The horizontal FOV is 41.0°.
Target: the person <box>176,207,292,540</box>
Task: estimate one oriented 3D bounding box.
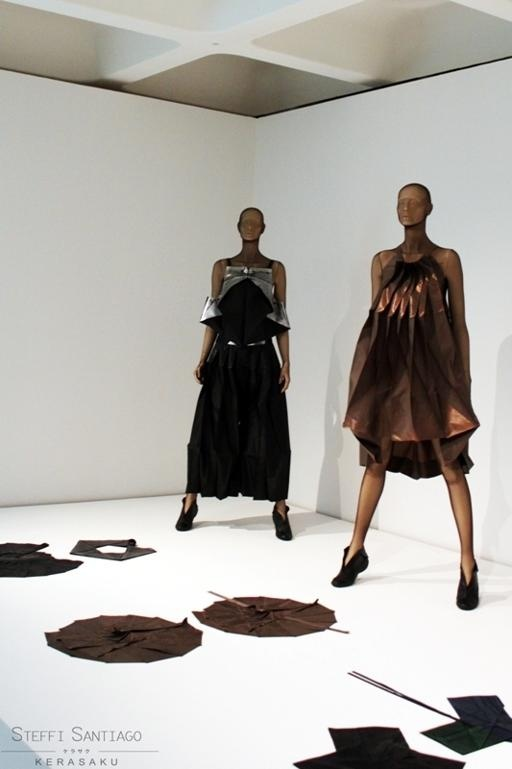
[{"bbox_3d":[-0.070,-0.054,3.528,0.581,1.627,0.394,3,-1,-6],"label":"person"}]

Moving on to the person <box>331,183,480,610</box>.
[{"bbox_3d":[0.625,0.031,2.689,0.553,1.454,0.358,3,-1,18],"label":"person"}]
